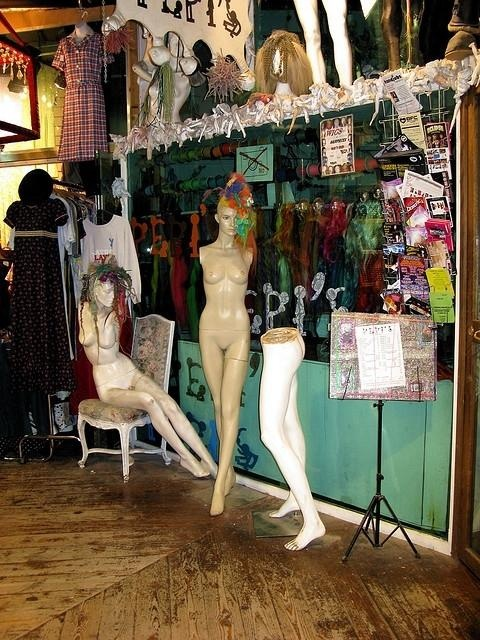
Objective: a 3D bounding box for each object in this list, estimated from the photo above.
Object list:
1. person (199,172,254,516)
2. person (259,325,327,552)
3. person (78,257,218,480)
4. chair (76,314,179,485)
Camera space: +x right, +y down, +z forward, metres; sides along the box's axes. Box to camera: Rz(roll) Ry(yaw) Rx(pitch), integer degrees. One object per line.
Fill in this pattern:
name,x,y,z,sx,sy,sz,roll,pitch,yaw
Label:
person,-0.052,0.145,2.803,0.336,1.771,0.300,-2,1,-5
person,0.253,0.543,2.461,0.291,1.013,0.389,-1,1,7
person,-0.644,0.306,3.321,0.869,1.460,0.328,-1,1,16
chair,-0.795,0.496,3.519,0.518,1.058,0.563,4,4,29
